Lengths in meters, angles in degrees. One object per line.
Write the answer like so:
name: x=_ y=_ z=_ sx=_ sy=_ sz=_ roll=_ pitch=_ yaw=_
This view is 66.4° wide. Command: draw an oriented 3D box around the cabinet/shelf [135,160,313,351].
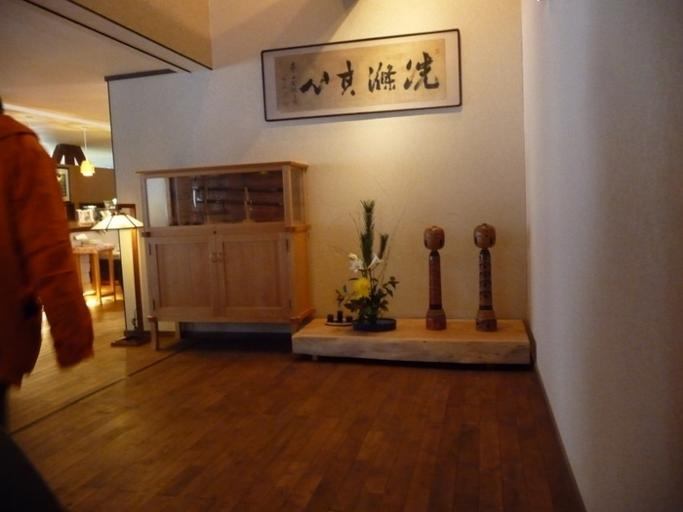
cabinet/shelf: x=-1.058 y=-0.029 z=4.833 sx=1.394 sy=1.656 sz=0.625 roll=-1 pitch=6 yaw=9

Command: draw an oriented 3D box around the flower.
flower: x=0.231 y=0.049 z=4.482 sx=0.568 sy=1.056 sz=0.643 roll=-2 pitch=7 yaw=-1
